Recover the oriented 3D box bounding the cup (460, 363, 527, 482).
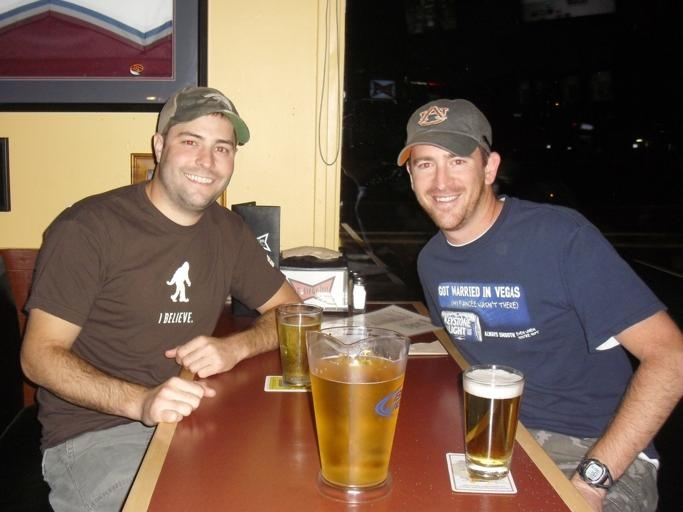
[{"bbox_3d":[0.313,0.340,1.105,0.118,0.193,0.135,2,14,18],"label":"cup"}]

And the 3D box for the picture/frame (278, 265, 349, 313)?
[{"bbox_3d":[-0.085,0.125,2.160,0.299,0.214,0.169,1,6,6],"label":"picture/frame"}]

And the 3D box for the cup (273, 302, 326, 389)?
[{"bbox_3d":[-0.123,0.245,1.539,0.175,0.279,0.176,0,4,0],"label":"cup"}]

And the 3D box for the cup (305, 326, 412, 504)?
[{"bbox_3d":[0.032,0.307,1.170,0.269,0.414,0.263,1,3,0],"label":"cup"}]

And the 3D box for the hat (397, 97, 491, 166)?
[{"bbox_3d":[0.354,-0.416,1.825,0.202,0.144,0.272,3,10,40],"label":"hat"}]

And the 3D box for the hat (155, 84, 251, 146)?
[{"bbox_3d":[-0.506,-0.490,1.965,0.289,0.157,0.213,7,10,41],"label":"hat"}]
